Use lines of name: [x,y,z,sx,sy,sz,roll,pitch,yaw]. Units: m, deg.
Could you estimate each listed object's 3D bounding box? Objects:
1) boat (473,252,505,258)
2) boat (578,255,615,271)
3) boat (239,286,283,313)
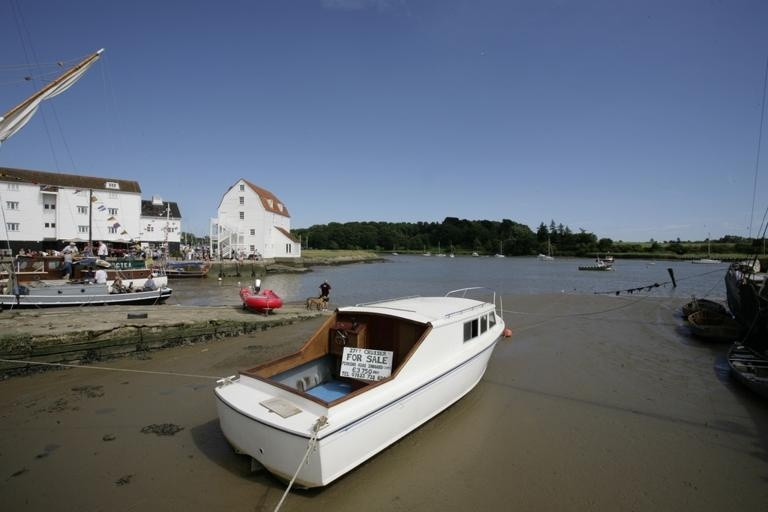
boat: [39.016,-0.655,155.606,11.387,2.479,2.135,1,8,19]
boat: [37.244,1.336,73.189,4.084,1.928,11.598,-3,0,31]
boat: [-7.007,2.407,23.568,1.481,0.891,2.609,3,0,-27]
